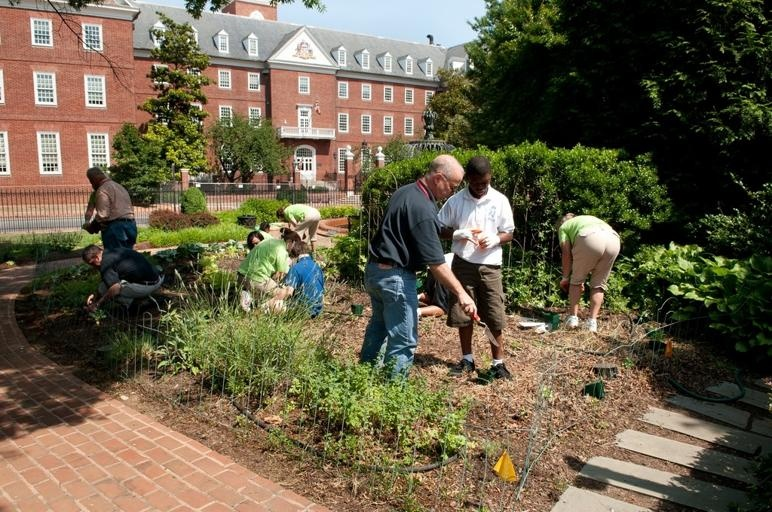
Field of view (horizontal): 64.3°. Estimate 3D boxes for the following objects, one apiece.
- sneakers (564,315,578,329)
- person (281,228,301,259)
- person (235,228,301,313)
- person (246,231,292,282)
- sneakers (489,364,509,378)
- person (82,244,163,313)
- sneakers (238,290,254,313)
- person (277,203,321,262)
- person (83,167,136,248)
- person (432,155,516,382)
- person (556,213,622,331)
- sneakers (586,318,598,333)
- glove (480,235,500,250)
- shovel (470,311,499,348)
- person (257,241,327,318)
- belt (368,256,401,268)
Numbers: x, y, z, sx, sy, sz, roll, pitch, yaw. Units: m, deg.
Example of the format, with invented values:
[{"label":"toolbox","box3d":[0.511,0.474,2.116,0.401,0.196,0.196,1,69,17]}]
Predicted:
[{"label":"sneakers","box3d":[2.847,1.022,9.485,0.173,0.151,0.335,-1,-7,9]},{"label":"person","box3d":[-1.683,-0.270,10.822,0.339,0.751,0.477,-1,-3,-7]},{"label":"person","box3d":[-1.879,0.370,10.163,0.971,1.636,0.742,7,8,-42]},{"label":"person","box3d":[-1.924,0.074,10.047,1.013,0.796,0.569,8,-3,36]},{"label":"sneakers","box3d":[1.505,1.510,8.078,0.285,0.169,0.193,2,13,9]},{"label":"person","box3d":[-4.347,0.349,10.123,1.173,0.978,1.199,-13,19,-36]},{"label":"sneakers","box3d":[-2.078,0.662,9.203,0.147,0.394,0.274,3,14,26]},{"label":"person","box3d":[-1.959,-0.576,13.412,1.001,1.100,0.831,-1,17,-25]},{"label":"person","box3d":[-4.852,-0.824,10.889,0.741,1.440,1.102,-11,16,-41]},{"label":"person","box3d":[1.176,0.173,8.223,1.044,2.913,0.951,0,1,20]},{"label":"person","box3d":[3.073,0.254,9.468,0.890,1.706,0.623,3,13,15]},{"label":"sneakers","box3d":[3.115,1.057,9.362,0.173,0.156,0.343,-2,-7,15]},{"label":"glove","box3d":[1.362,-0.185,8.061,0.212,0.091,0.163,-9,50,3]},{"label":"shovel","box3d":[1.329,0.993,8.309,0.103,0.144,0.848,4,41,-33]},{"label":"person","box3d":[-1.484,0.378,9.402,0.566,0.635,0.996,12,56,24]},{"label":"belt","box3d":[-0.029,0.070,7.352,0.202,0.074,0.205,11,0,29]}]
